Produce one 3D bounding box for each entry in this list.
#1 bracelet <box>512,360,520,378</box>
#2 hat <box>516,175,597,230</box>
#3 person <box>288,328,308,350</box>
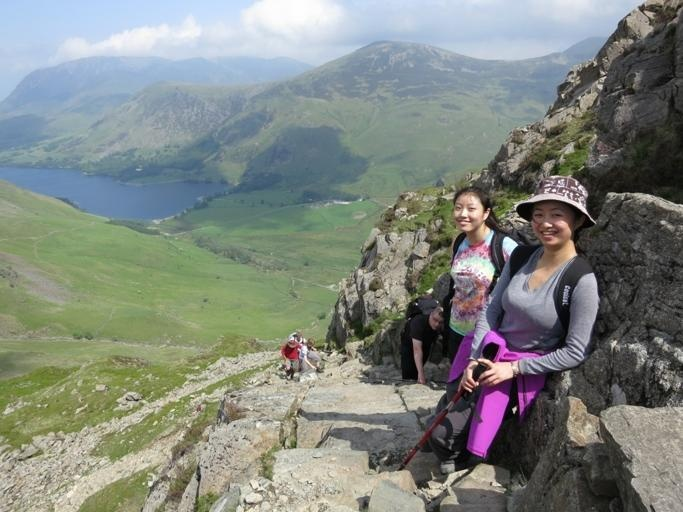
[{"bbox_3d":[3.575,2.370,10.306,0.195,0.260,0.285,4,1,16],"label":"bracelet"},{"bbox_3d":[4.356,-1.151,10.283,1.395,0.717,1.253,17,-26,-15],"label":"hat"},{"bbox_3d":[-2.417,4.776,27.707,0.858,1.015,1.594,3,18,4],"label":"person"}]
